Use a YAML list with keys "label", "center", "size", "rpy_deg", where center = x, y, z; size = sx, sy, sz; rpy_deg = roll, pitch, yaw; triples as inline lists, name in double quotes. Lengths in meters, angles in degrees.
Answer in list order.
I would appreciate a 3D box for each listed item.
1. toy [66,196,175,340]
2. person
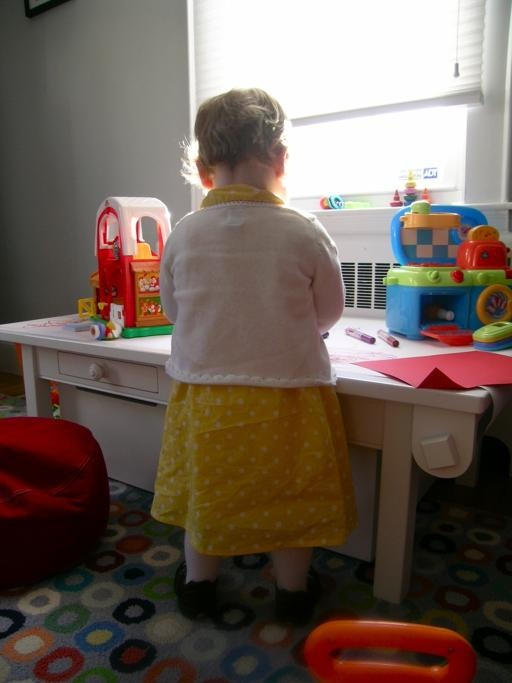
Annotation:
- label: "toy"
  center: [-0.314, -0.192, 1.345]
  size: [0.250, 0.297, 0.286]
  rpy_deg: [6, 13, 28]
- label: "person"
  center: [0.006, 0.026, 0.947]
  size: [0.343, 0.824, 0.316]
  rpy_deg: [2, 8, 14]
